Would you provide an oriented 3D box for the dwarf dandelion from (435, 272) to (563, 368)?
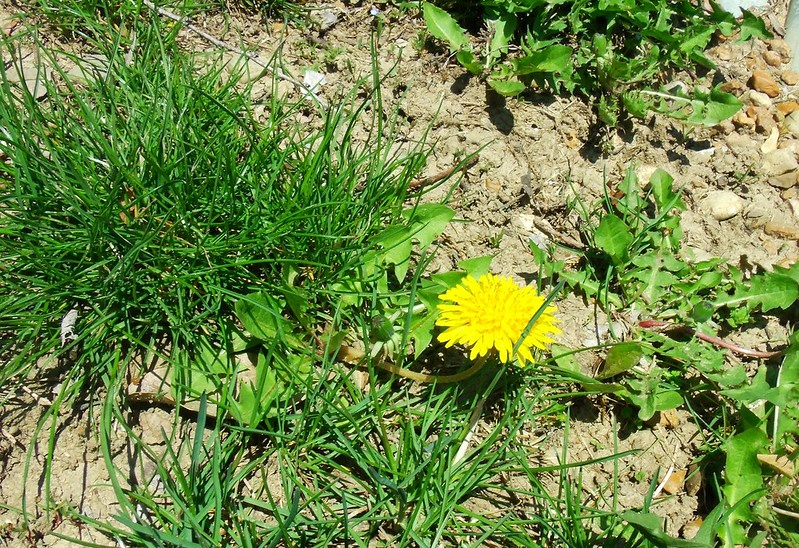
[{"bbox_3d":[0.375,0.189,2.690,0.380,0.187,0.391,-31,61,-25],"label":"dwarf dandelion"}]
